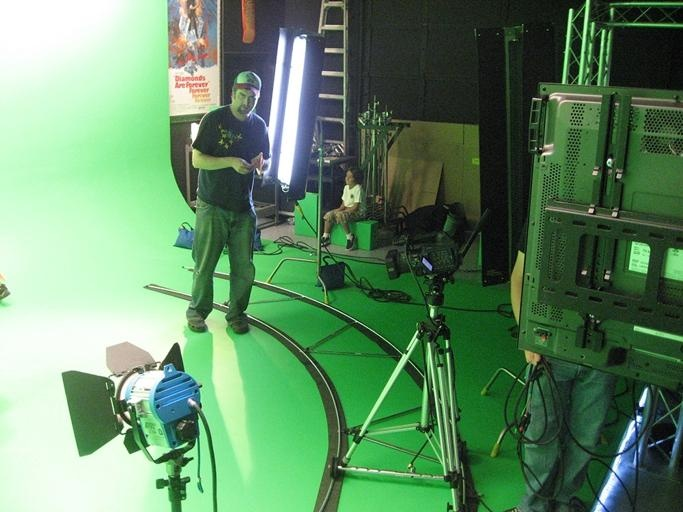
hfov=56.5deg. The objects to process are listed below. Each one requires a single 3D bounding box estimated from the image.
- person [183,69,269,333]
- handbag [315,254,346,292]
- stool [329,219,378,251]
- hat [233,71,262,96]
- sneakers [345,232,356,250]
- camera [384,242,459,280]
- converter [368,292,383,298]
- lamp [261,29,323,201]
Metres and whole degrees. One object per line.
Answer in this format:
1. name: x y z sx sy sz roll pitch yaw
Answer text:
1. person: -0.926 -0.411 5.161 0.705 2.097 0.472 -2 12 -14
2. handbag: -0.083 0.158 6.298 0.234 0.355 0.119 1 2 19
3. stool: 0.165 -0.280 7.719 0.562 0.341 0.322 2 13 -1
4. hat: -0.744 -1.381 5.046 0.206 0.172 0.301 12 19 -21
5. sneakers: 0.115 -0.177 7.654 0.073 0.095 0.200 3 29 8
6. camera: 0.457 0.052 3.478 0.305 0.166 0.213 -10 23 16
7. converter: 0.328 0.368 6.165 0.067 0.018 0.069 10 23 17
8. lamp: -0.425 -1.186 5.413 0.503 1.397 0.275 6 13 22
